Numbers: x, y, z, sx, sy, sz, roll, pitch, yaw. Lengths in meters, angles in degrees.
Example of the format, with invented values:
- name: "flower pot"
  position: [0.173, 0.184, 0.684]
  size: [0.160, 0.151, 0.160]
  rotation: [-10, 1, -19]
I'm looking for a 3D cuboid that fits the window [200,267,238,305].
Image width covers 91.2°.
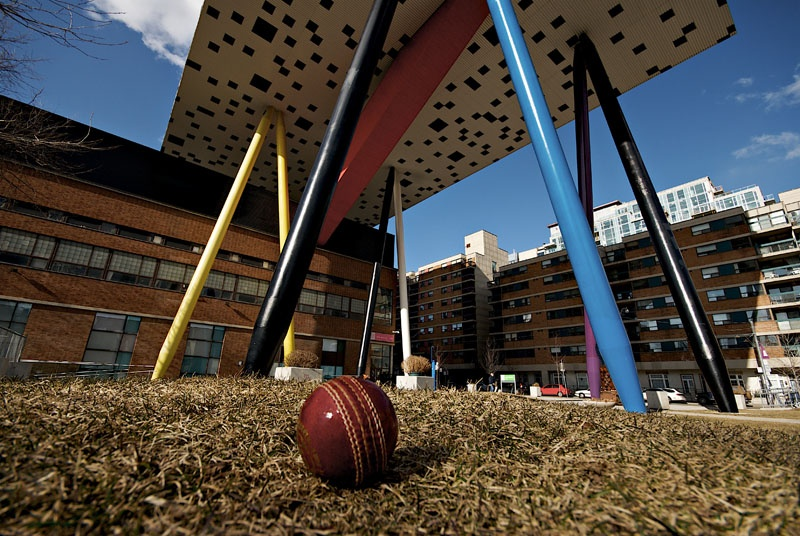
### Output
- name: "window"
  position: [-11.927, 1.305, 25.688]
  size: [0.158, 1.790, 2.413]
  rotation: [-18, -31, 40]

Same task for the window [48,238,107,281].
- name: "window"
  position: [-18.649, -0.425, 22.494]
  size: [2.166, 1.567, 0.141]
  rotation: [17, -24, -25]

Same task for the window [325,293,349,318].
- name: "window"
  position: [-5.290, 3.214, 32.480]
  size: [0.064, 1.399, 1.944]
  rotation: [-16, -21, 38]

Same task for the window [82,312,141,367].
- name: "window"
  position: [-16.680, 4.215, 22.454]
  size: [2.801, 3.715, 0.141]
  rotation: [14, -30, -32]

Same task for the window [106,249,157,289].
- name: "window"
  position: [-16.510, 0.124, 23.916]
  size: [2.083, 1.767, 0.163]
  rotation: [22, -25, -38]

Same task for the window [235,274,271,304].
- name: "window"
  position: [-10.141, 1.487, 26.596]
  size: [2.276, 1.650, 0.142]
  rotation: [17, -25, -42]

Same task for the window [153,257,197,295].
- name: "window"
  position: [-14.125, 0.583, 24.379]
  size: [0.136, 1.458, 2.011]
  rotation: [-14, -40, 39]
